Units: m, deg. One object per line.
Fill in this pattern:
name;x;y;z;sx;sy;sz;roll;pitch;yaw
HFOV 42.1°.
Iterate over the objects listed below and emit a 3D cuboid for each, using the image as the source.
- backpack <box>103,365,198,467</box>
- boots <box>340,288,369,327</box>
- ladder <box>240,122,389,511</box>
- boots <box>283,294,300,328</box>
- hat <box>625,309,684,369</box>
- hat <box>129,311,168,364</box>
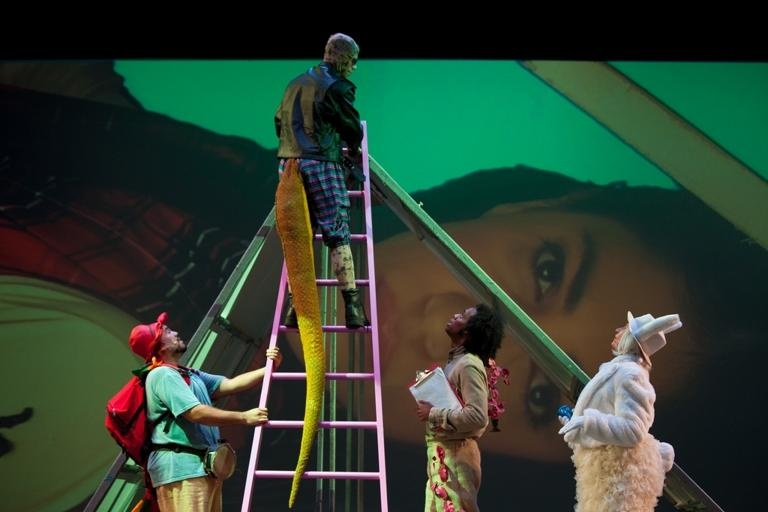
backpack;-1.685;1.190;7.435;0.718;0.762;0.485;2;-17;-8
boots;-0.230;0.413;7.743;0.168;0.317;0.435;-5;-10;1
ladder;-0.426;0.315;8.153;1.075;3.609;1.623;3;-21;0
boots;-0.715;0.452;7.618;0.096;0.196;0.264;1;-11;2
hat;2.051;0.642;7.569;0.202;0.481;0.311;3;-5;4
hat;-1.820;0.618;7.627;0.312;0.425;0.286;11;0;-40
